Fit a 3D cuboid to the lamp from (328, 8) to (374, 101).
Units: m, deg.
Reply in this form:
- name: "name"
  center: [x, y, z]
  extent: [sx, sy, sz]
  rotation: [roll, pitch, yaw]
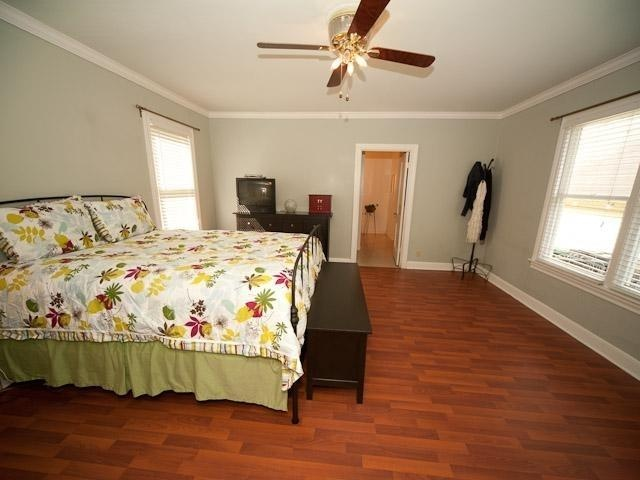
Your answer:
- name: "lamp"
  center: [0.262, -1.793, 4.193]
  extent: [0.683, 0.319, 0.702]
  rotation: [1, -24, -2]

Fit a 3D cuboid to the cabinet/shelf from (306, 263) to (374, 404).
- name: "cabinet/shelf"
  center: [0.163, 0.910, 3.937]
  extent: [0.393, 0.536, 1.134]
  rotation: [0, 22, 1]

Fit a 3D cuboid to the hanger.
- name: "hanger"
  center: [2.207, -0.309, 6.096]
  extent: [0.521, 1.689, 0.469]
  rotation: [4, 12, 13]
